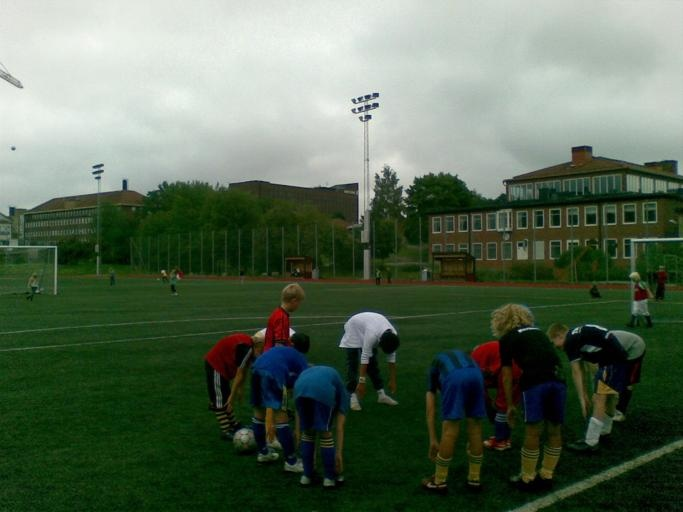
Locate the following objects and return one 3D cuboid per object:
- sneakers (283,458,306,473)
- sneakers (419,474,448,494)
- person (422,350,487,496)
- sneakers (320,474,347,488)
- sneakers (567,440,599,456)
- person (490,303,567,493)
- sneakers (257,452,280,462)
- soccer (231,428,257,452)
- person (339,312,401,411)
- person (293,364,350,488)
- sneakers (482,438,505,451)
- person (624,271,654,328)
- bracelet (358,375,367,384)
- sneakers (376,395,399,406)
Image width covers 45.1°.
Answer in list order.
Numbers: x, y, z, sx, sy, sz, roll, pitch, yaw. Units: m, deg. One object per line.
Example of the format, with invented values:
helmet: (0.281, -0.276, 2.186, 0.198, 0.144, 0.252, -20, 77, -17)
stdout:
sneakers: (-0.674, 2.936, 11.595, 0.291, 0.201, 0.157, -1, -1, -2)
sneakers: (1.259, 3.056, 11.135, 0.158, 0.170, 0.339, 2, 1, -38)
person: (1.567, 2.212, 11.424, 0.831, 1.856, 1.117, 0, -1, 9)
sneakers: (-0.106, 3.063, 11.276, 0.291, 0.144, 0.128, -5, 3, -22)
sneakers: (3.496, 2.775, 12.135, 0.519, 0.231, 0.182, 5, 1, 33)
person: (2.545, 1.873, 11.239, 0.513, 2.440, 0.921, 1, -1, -41)
sneakers: (-1.058, 2.885, 11.934, 0.321, 0.150, 0.124, 0, 0, -25)
soccer: (-1.450, 2.676, 12.200, 0.306, 0.315, 0.322, 24, 33, -26)
person: (0.463, 1.734, 13.847, 0.946, 1.622, 2.926, 0, -1, 3)
person: (-0.288, 2.317, 11.304, 0.754, 1.626, 0.543, 0, -1, -7)
sneakers: (2.258, 2.782, 12.246, 0.332, 0.167, 0.148, 7, 4, 35)
person: (8.441, 1.158, 23.278, 0.628, 1.496, 3.810, 0, -1, 21)
bracelet: (0.330, 1.967, 13.231, 0.094, 0.102, 0.110, 4, -6, -26)
sneakers: (0.775, 2.448, 13.975, 0.362, 0.162, 0.133, 0, 0, 8)
